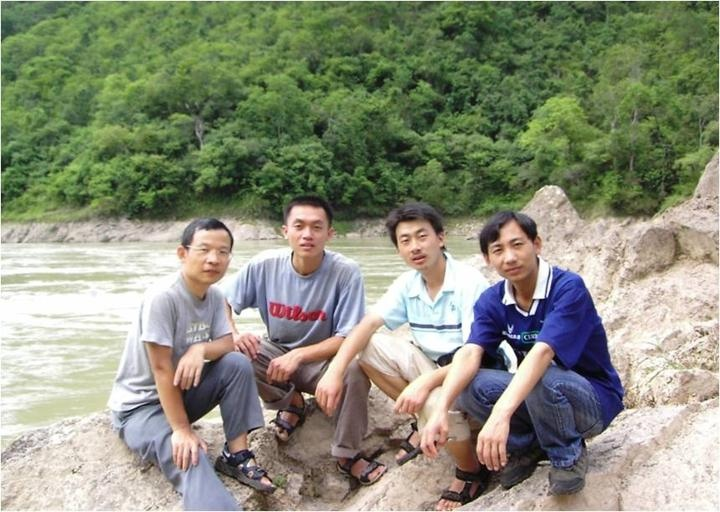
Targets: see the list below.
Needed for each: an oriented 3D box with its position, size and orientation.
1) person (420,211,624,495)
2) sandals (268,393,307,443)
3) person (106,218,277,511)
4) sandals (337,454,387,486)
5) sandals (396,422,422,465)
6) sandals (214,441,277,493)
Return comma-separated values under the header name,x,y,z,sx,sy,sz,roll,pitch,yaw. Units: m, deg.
name,x,y,z,sx,sy,sz,roll,pitch,yaw
person,0.982,0.533,3.537,1.017,1.562,0.635,4,7,26
sandals,-0.529,1.158,4.537,0.200,0.157,0.469,10,32,12
person,-1.040,0.638,3.958,1.029,1.746,0.792,6,9,42
sandals,0.023,1.458,4.217,0.352,0.176,0.176,7,37,31
sandals,0.365,1.300,4.236,0.113,0.083,0.314,-32,22,45
sandals,-0.751,1.356,4.043,0.524,0.256,0.189,15,11,28
